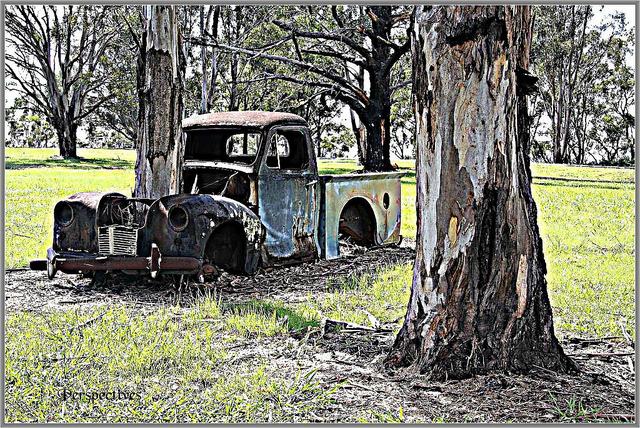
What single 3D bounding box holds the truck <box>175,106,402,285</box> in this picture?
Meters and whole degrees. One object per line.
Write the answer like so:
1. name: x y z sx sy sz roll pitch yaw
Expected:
1. truck: -0.987 -0.247 10.907 4.107 2.085 2.444 3 -4 -45
